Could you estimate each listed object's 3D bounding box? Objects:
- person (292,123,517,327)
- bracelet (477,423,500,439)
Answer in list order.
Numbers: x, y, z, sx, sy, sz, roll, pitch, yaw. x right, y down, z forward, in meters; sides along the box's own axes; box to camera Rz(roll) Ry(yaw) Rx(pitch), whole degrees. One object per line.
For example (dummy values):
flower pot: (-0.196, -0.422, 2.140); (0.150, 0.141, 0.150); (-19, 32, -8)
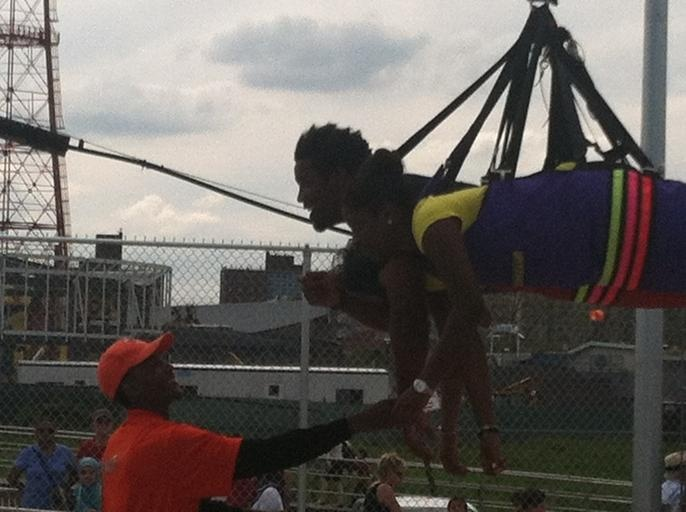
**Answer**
person: (0.445, -0.018, 6.900); (1.316, 1.361, 0.651); (2, 14, -5)
bracelet: (0.801, 0.955, 6.428); (0.152, 0.078, 0.180); (-5, -2, 9)
